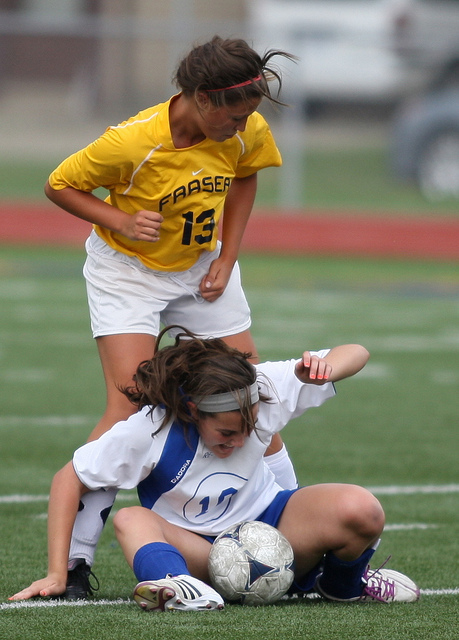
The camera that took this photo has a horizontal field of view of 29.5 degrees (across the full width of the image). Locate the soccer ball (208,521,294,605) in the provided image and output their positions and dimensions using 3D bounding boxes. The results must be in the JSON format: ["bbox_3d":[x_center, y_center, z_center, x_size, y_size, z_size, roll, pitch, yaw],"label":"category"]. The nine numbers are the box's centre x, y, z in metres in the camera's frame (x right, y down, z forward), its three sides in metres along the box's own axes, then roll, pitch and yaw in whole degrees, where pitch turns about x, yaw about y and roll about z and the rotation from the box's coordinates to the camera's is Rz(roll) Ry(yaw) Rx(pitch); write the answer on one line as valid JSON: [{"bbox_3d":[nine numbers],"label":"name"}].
[{"bbox_3d":[0.056,0.587,2.142,0.240,0.182,0.199,0,-3,0],"label":"soccer ball"}]

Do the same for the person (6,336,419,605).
[{"bbox_3d":[-0.048,0.382,2.366,1.342,0.680,0.758,-1,1,-31],"label":"person"}]
